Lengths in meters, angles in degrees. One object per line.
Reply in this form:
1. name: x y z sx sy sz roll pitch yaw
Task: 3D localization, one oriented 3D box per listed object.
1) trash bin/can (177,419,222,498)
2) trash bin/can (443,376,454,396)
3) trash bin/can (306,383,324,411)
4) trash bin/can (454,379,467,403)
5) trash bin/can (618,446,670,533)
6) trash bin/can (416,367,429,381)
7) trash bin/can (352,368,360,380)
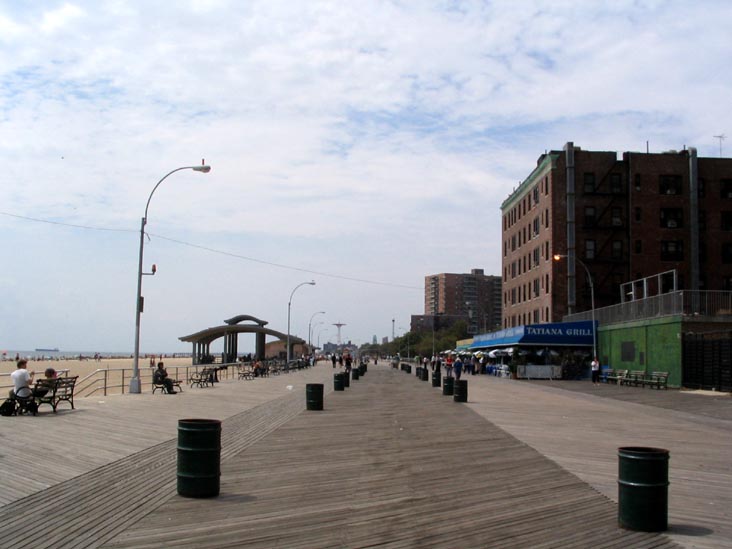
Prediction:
1. trash bin/can: -2.809 3.099 12.584 0.683 1.244 0.314 1 -5 -10
2. trash bin/can: 3.723 5.085 33.962 0.685 0.772 0.712 0 -7 3
3. trash bin/can: -1.752 4.201 25.599 0.551 0.863 0.588 1 -6 -12
4. trash bin/can: 3.725 4.602 29.518 0.477 0.850 0.650 -1 -6 6
5. trash bin/can: 4.202 3.256 11.406 0.756 1.210 0.747 0 -4 18
6. trash bin/can: 3.982 7.172 53.492 0.815 0.950 0.847 -1 -1 9
7. trash bin/can: -0.844 6.870 51.241 0.637 0.787 0.664 1 1 20
